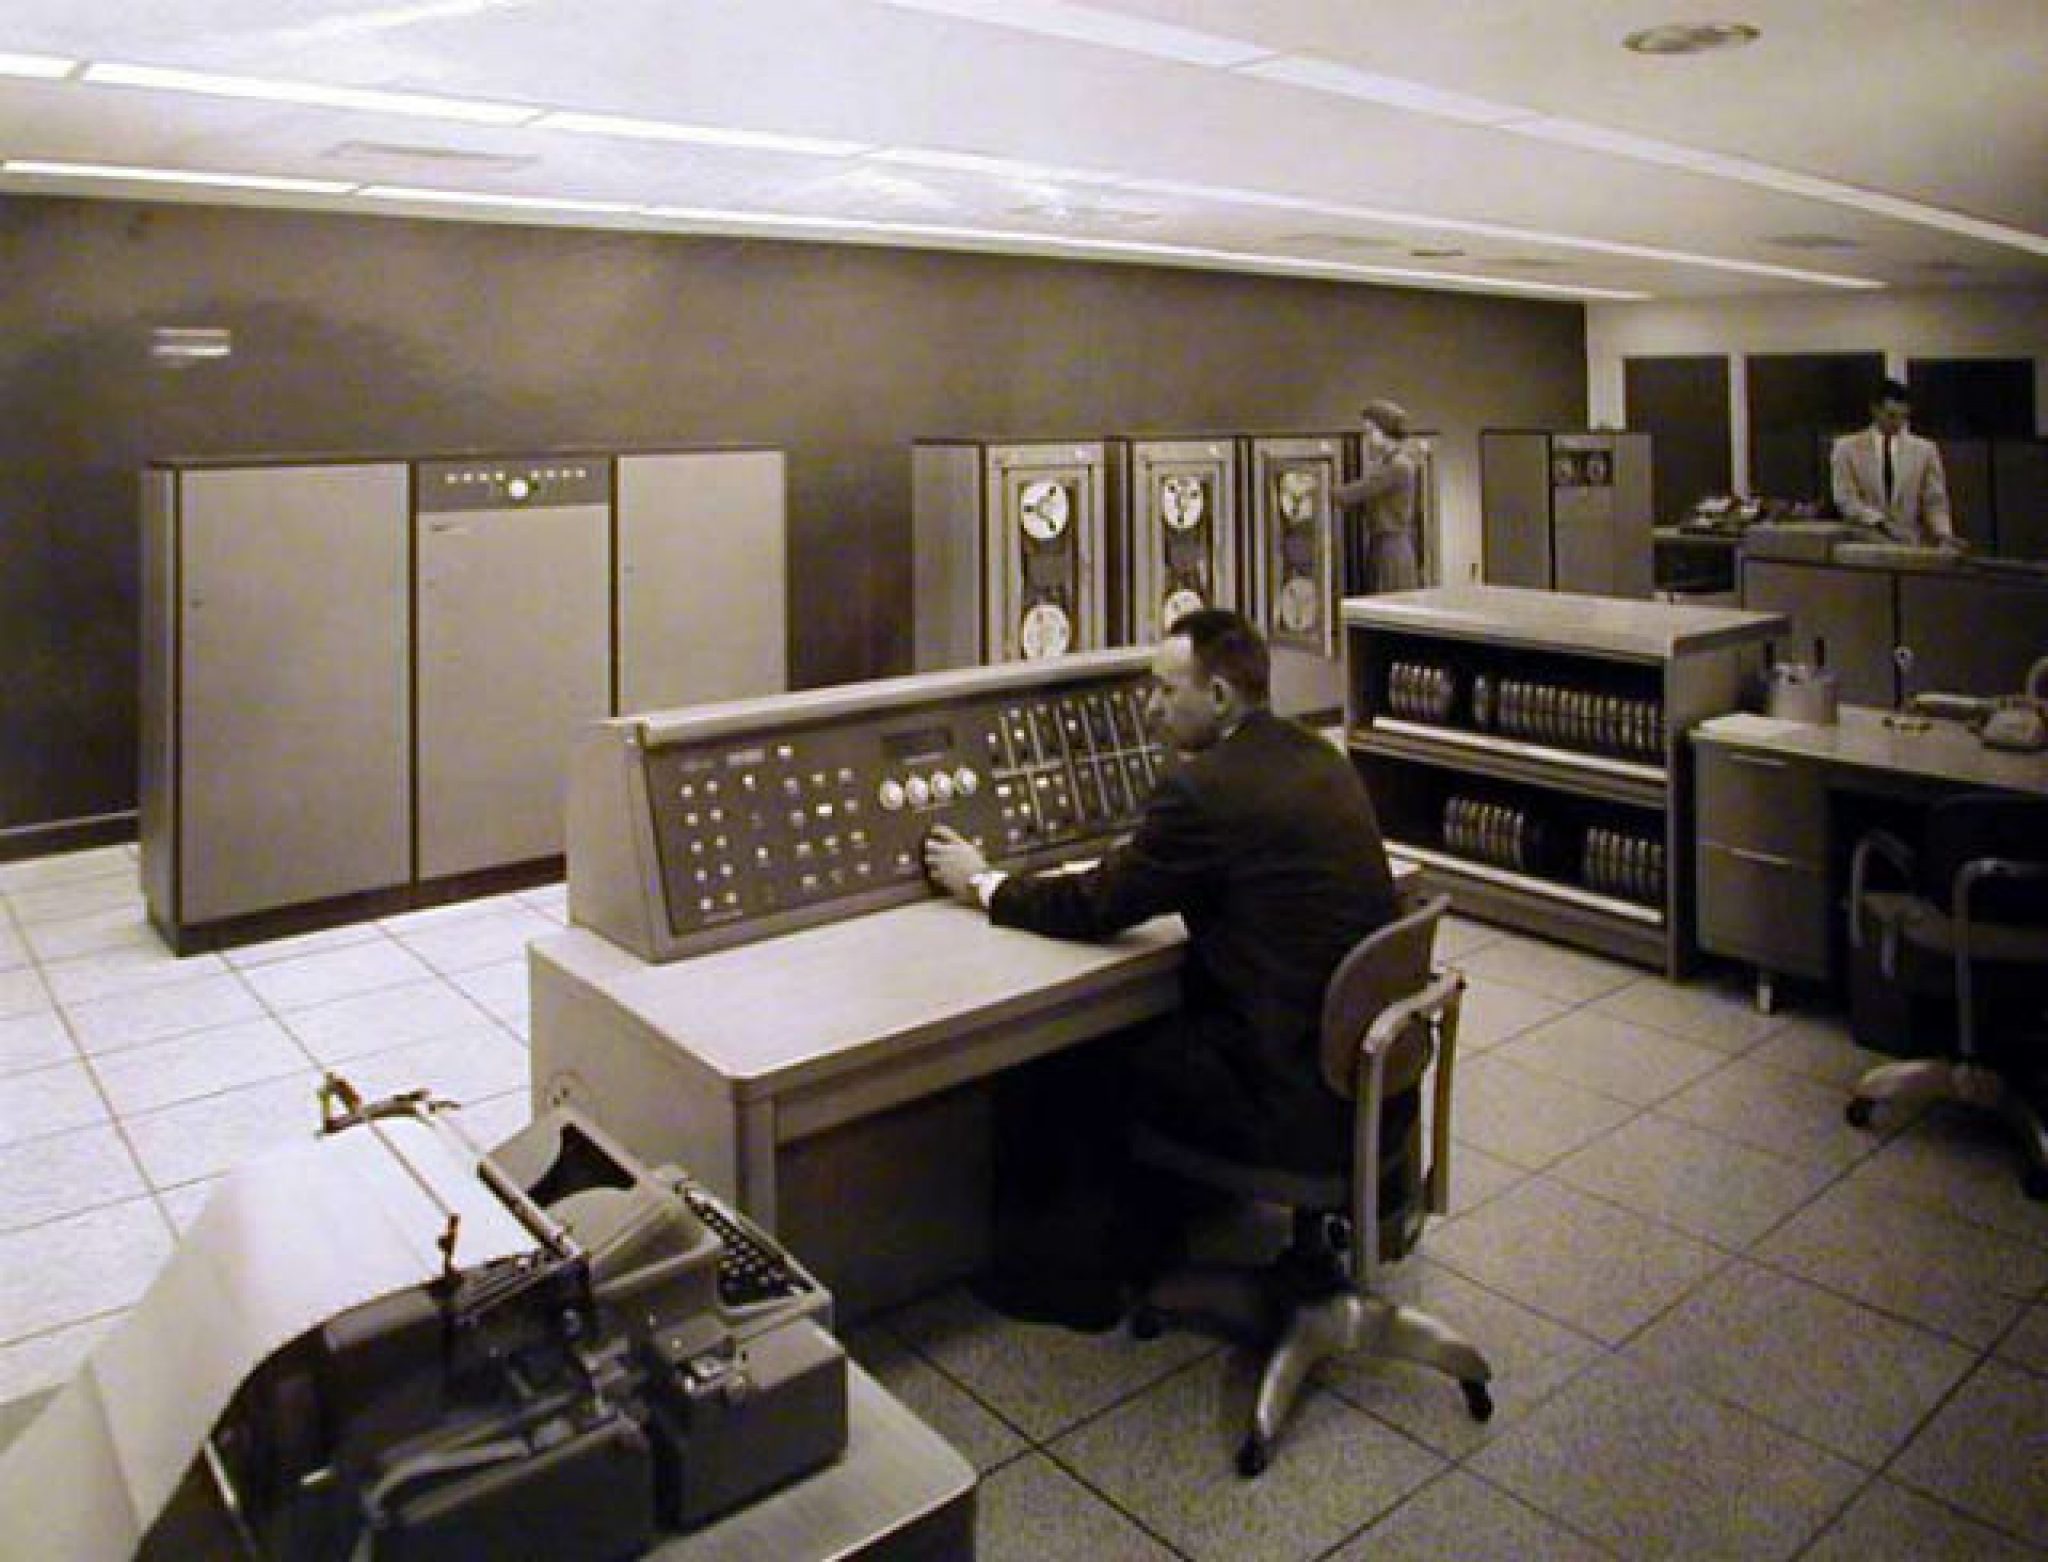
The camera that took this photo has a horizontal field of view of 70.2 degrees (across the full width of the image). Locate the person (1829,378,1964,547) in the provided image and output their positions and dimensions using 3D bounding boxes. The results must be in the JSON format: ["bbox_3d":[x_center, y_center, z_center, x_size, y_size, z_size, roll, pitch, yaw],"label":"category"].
[{"bbox_3d":[5.099,-1.789,8.474,0.584,0.958,0.762,-11,18,-26],"label":"person"}]

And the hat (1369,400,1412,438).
[{"bbox_3d":[2.183,-2.162,8.825,0.235,0.214,0.422,-2,14,11],"label":"hat"}]

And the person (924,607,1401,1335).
[{"bbox_3d":[0.423,0.474,3.703,1.145,1.795,0.748,6,9,23],"label":"person"}]
